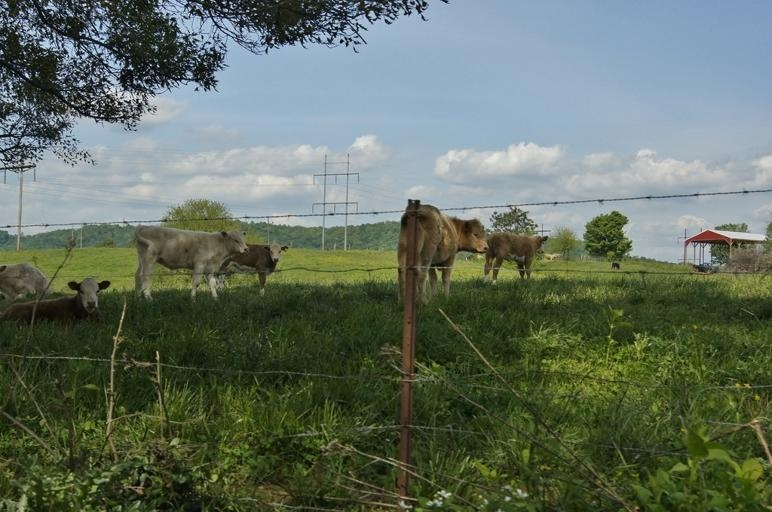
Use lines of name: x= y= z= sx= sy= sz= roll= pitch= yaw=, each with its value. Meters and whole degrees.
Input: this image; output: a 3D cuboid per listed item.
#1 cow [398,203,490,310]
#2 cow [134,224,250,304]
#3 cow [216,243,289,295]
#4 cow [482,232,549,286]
cow: x=1.207 y=-0.023 z=16.600 sx=0.920 sy=2.101 sz=3.786 roll=1 pitch=0 yaw=27
cow: x=-4.931 y=0.184 z=19.022 sx=2.887 sy=1.913 sz=1.273 roll=1 pitch=1 yaw=-16
cow: x=-3.956 y=0.356 z=21.886 sx=2.264 sy=1.286 sz=0.863 roll=0 pitch=-1 yaw=15
cow: x=4.323 y=0.088 z=23.977 sx=2.864 sy=1.629 sz=0.762 roll=1 pitch=0 yaw=-39
